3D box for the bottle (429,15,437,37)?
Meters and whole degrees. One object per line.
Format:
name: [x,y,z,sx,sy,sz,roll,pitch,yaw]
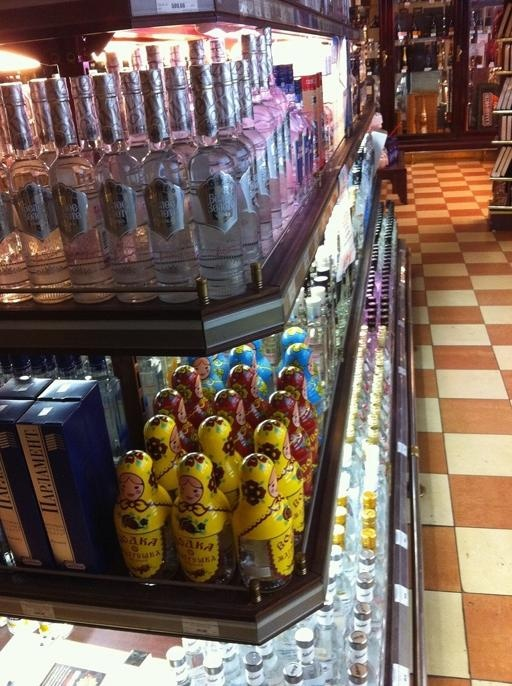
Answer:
bottle: [3.296,-5.904,9.186,0.140,0.340,0.051,5,27,23]
